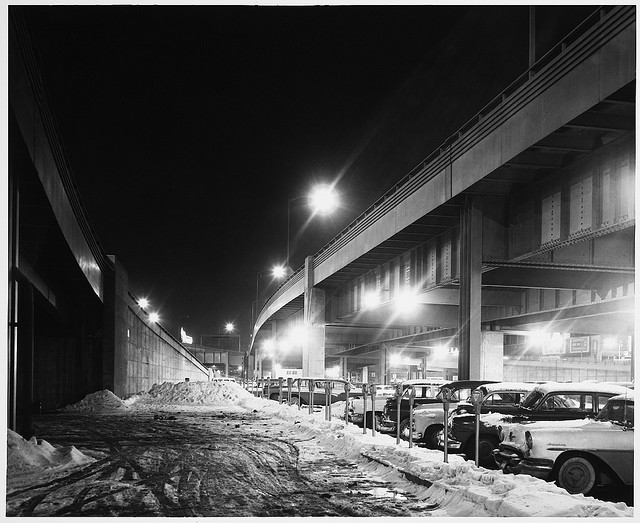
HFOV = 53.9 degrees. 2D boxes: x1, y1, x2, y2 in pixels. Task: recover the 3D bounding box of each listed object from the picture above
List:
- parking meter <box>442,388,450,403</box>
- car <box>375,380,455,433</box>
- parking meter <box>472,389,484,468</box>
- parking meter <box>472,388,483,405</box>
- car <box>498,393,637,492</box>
[{"bbox_3d":[2.608,2.746,12.955,0.121,0.359,0.762,0,-17,13],"label":"parking meter"},{"bbox_3d":[2.823,4.600,20.333,2.746,1.836,1.739,0,-7,-12],"label":"car"},{"bbox_3d":[2.935,3.108,11.781,0.220,1.309,0.137,-4,-14,33],"label":"parking meter"},{"bbox_3d":[2.966,2.545,11.893,0.170,0.314,0.524,1,-17,11],"label":"parking meter"},{"bbox_3d":[4.712,3.382,11.875,2.085,1.295,1.505,1,-12,-1],"label":"car"}]
